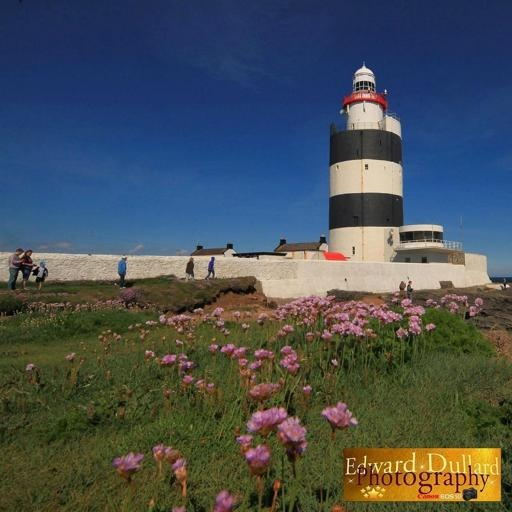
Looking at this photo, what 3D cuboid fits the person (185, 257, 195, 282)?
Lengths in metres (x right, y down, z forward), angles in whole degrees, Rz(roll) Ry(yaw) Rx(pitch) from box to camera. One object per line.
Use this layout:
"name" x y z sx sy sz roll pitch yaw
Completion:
"person" -3.372 0.597 19.266 0.373 1.160 1.492 2 -3 -10

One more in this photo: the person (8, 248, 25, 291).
"person" -8.523 0.463 13.389 0.399 1.399 1.300 3 -3 -33

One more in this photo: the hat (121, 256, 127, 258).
"hat" -6.246 0.096 17.898 0.147 0.167 0.186 -1 -7 -1

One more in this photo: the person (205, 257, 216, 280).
"person" -2.479 0.602 20.478 0.461 1.190 1.179 2 -3 -8
